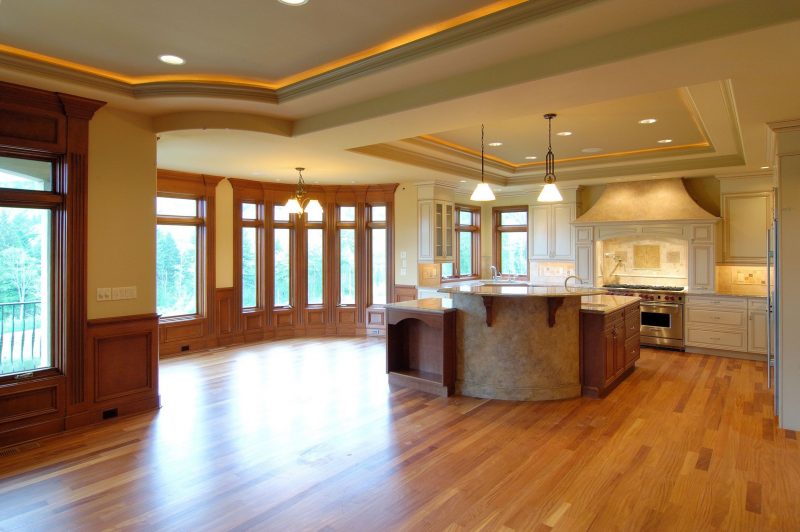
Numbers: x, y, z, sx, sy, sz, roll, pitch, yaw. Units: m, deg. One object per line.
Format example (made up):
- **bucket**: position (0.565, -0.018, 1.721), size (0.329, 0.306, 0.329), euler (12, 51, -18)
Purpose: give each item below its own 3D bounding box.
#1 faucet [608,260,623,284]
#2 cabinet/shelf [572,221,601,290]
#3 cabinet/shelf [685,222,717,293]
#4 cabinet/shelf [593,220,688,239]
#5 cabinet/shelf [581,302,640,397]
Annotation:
- **faucet**: position (4.232, 0.090, 10.497), size (0.275, 0.476, 0.114), euler (2, 7, 20)
- **cabinet/shelf**: position (3.554, -0.155, 10.356), size (0.322, 1.150, 0.132), euler (-5, 13, 3)
- **cabinet/shelf**: position (5.271, -0.142, 9.307), size (0.431, 1.212, 0.122), euler (2, 6, 18)
- **cabinet/shelf**: position (4.375, -0.635, 9.757), size (1.593, 0.310, 0.186), euler (3, 6, 25)
- **cabinet/shelf**: position (2.895, 1.186, 7.425), size (0.492, 0.649, 1.367), euler (-2, 0, 28)
